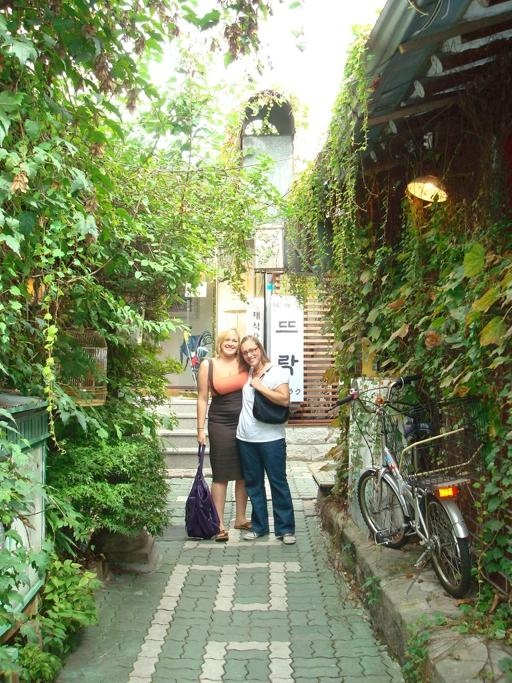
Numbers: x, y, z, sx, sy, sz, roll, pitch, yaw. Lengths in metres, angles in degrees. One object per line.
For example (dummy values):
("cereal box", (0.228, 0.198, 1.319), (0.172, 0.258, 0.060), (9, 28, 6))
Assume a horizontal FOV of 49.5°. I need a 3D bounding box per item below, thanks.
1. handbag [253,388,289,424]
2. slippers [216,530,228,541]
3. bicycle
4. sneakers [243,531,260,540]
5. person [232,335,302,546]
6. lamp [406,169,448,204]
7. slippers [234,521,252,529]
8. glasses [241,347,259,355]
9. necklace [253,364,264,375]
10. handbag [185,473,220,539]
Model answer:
("handbag", (0.137, 0.558, 4.912), (0.316, 0.346, 0.159), (2, -5, -20))
("slippers", (-0.323, 1.789, 5.129), (0.090, 0.087, 0.209), (1, -17, -4))
("bicycle", (0.946, 0.929, 3.306), (0.535, 0.744, 1.113), (-20, 2, -4))
("sneakers", (-0.027, 1.829, 5.232), (0.181, 0.071, 0.060), (26, -14, -40))
("person", (0.086, 0.907, 5.139), (0.559, 1.884, 0.641), (0, -5, 9))
("lamp", (1.266, -1.108, 4.034), (0.263, 0.122, 0.268), (19, -19, 31))
("slippers", (-0.121, 1.813, 5.499), (0.133, 0.046, 0.071), (-2, -2, 9))
("glasses", (-0.048, 0.089, 5.032), (0.142, 0.074, 0.073), (0, -6, -2))
("necklace", (0.025, 0.258, 5.101), (0.078, 0.103, 0.073), (-1, -25, 7))
("handbag", (-0.481, 1.474, 4.972), (0.309, 0.612, 0.388), (1, -5, -4))
